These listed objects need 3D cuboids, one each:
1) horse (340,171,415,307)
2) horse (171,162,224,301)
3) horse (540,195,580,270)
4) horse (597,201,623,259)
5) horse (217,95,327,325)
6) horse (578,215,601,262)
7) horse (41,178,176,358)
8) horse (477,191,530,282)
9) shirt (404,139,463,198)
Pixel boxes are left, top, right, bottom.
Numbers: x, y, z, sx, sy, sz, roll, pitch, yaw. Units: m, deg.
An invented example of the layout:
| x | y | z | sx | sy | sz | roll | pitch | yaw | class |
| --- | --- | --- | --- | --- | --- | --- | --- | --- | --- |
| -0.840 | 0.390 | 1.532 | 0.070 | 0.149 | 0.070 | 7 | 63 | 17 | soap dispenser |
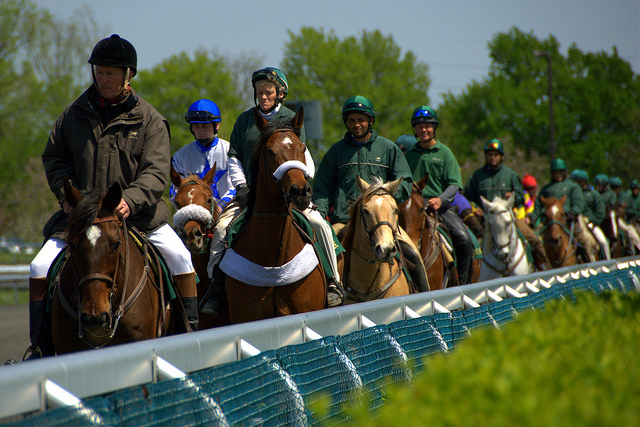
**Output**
| x | y | z | sx | sy | sz | roll | pitch | yaw | class |
| --- | --- | --- | --- | --- | --- | --- | --- | --- | --- |
| 1.237 | 0.663 | 25.498 | 1.555 | 2.918 | 1.049 | 0 | 5 | 1 | horse |
| -3.274 | 0.602 | 28.625 | 1.251 | 3.940 | 5.370 | 1 | 1 | -7 | horse |
| 6.979 | 0.464 | 32.910 | 1.042 | 2.792 | 4.125 | -1 | 12 | 12 | horse |
| 10.003 | 0.627 | 38.466 | 0.546 | 1.749 | 2.466 | -6 | -33 | 11 | horse |
| -1.026 | 0.101 | 24.547 | 2.292 | 4.892 | 0.881 | 0 | 5 | 0 | horse |
| 8.391 | 0.816 | 34.711 | 0.301 | 1.360 | 0.717 | -11 | 8 | 24 | horse |
| -4.568 | 1.217 | 23.585 | 2.652 | 3.754 | 1.108 | -1 | 6 | -15 | horse |
| 4.828 | 0.724 | 29.221 | 1.198 | 2.118 | 0.705 | 0 | 5 | -3 | horse |
| 2.834 | -1.164 | 29.043 | 1.748 | 1.582 | 1.086 | 5 | 4 | 29 | shirt |
